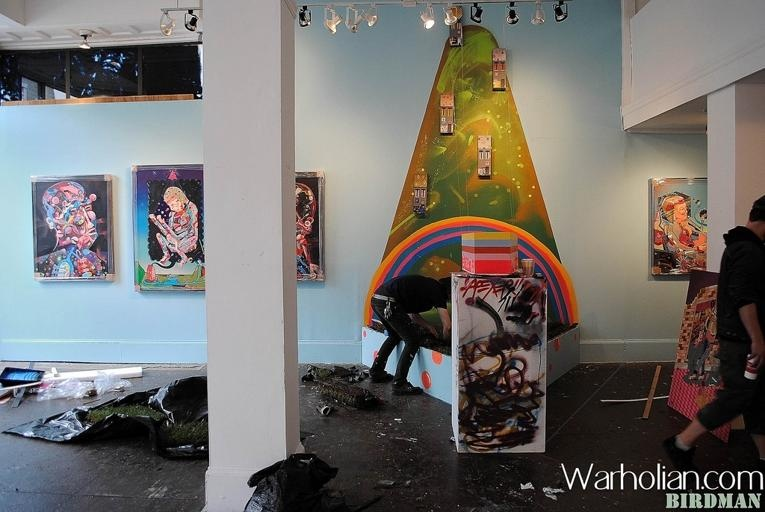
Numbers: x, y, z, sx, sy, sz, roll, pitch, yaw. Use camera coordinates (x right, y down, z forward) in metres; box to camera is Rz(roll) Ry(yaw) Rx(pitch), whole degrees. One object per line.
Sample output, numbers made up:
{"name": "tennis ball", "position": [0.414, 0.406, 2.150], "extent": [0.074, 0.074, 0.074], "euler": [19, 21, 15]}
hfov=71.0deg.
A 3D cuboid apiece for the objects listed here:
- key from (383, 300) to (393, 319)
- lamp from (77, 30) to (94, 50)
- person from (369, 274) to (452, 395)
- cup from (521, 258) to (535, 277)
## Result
{"name": "key", "position": [0.065, 0.662, 6.598], "extent": [0.119, 0.151, 0.028], "euler": [2, 1, 24]}
{"name": "lamp", "position": [-4.265, -3.102, 7.699], "extent": [0.197, 0.296, 0.197], "euler": [2, 3, 6]}
{"name": "person", "position": [0.333, 0.960, 6.717], "extent": [1.095, 1.068, 0.530], "euler": [2, 1, 19]}
{"name": "cup", "position": [1.437, 0.119, 5.334], "extent": [0.184, 0.199, 0.186], "euler": [0, 0, 0]}
